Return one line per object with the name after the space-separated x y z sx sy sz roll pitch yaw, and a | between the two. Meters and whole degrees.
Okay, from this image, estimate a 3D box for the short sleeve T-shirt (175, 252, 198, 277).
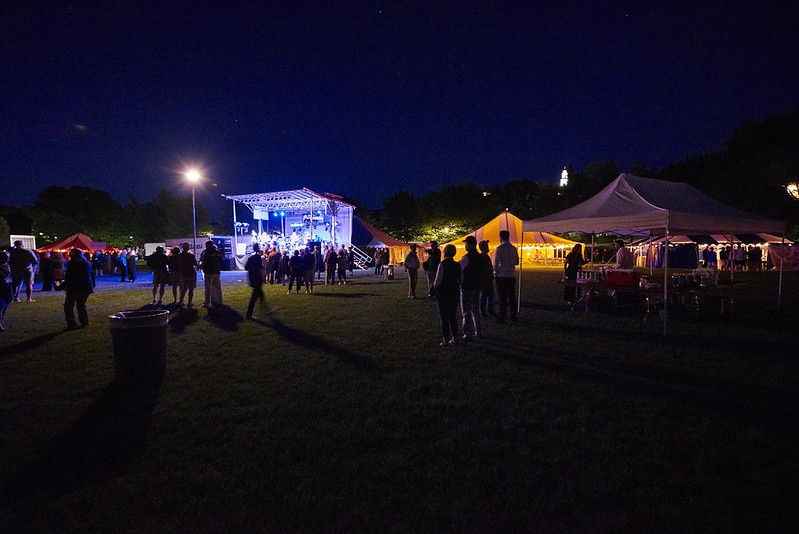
-5.560 -0.054 14.524 0.580 0.819 0.416 1 8 -3 | short sleeve T-shirt

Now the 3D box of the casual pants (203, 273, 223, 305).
-4.857 0.562 14.541 0.332 0.831 0.681 -1 5 -10 | casual pants

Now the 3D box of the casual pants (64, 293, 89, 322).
-6.989 0.896 12.070 0.401 0.765 0.918 -4 6 -31 | casual pants

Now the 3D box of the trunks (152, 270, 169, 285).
-6.257 0.248 14.715 0.491 0.494 0.307 3 17 -22 | trunks

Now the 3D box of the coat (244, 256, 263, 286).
-3.393 0.096 13.064 0.348 0.759 0.365 -2 5 -19 | coat

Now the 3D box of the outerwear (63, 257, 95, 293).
-6.732 0.195 11.731 0.484 0.766 0.389 -4 6 -34 | outerwear

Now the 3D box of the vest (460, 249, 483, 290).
1.321 0.079 10.325 0.683 0.599 0.328 -6 8 -44 | vest

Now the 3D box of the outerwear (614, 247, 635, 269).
5.680 -0.214 14.184 0.652 0.613 0.363 -7 12 -20 | outerwear

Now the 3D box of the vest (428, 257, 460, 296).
0.865 0.198 10.168 0.494 0.702 0.373 0 5 -1 | vest

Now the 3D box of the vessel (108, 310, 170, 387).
-4.040 1.247 8.659 0.785 1.047 0.594 -2 5 -14 | vessel

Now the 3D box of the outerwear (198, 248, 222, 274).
-4.792 -0.156 14.179 0.488 0.676 0.404 -1 5 -10 | outerwear

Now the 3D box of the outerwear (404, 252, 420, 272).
0.344 -0.155 16.211 0.390 0.592 0.491 -1 5 -3 | outerwear

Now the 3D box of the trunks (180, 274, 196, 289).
-5.491 0.371 14.544 0.303 0.315 0.184 10 20 15 | trunks

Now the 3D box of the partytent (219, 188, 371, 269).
-6.454 -2.854 34.964 6.612 5.378 6.186 1 9 12 | partytent

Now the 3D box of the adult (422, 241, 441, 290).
0.724 0.021 11.955 0.344 1.175 0.350 2 0 -9 | adult

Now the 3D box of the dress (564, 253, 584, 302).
4.478 0.205 14.416 0.490 1.608 0.497 1 19 9 | dress

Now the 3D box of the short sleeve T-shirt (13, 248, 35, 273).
-10.457 -0.174 15.536 0.600 0.610 0.320 10 -3 -42 | short sleeve T-shirt

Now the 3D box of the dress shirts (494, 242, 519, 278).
2.262 -0.169 12.056 0.616 0.822 0.411 -6 10 -18 | dress shirts

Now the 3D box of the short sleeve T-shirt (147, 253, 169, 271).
-6.286 -0.116 14.546 0.452 0.470 0.337 -3 6 -26 | short sleeve T-shirt
